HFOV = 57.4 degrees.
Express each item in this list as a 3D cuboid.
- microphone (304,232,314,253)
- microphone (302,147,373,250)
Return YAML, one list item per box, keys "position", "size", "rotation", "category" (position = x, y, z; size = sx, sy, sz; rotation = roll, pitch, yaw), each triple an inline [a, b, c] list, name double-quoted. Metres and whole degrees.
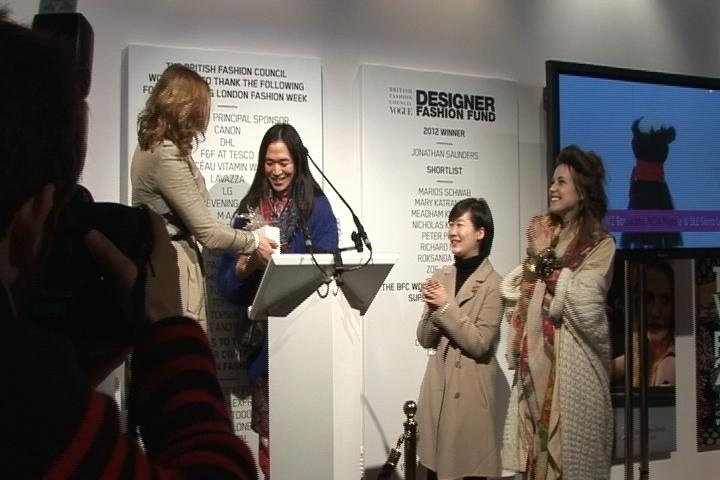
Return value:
- position: [-0.245, 0.011, 3.108]
  size: [0.025, 0.121, 0.043]
  rotation: [-1, -36, -19]
  category: "microphone"
- position: [-0.137, -0.222, 3.683]
  size: [0.058, 0.611, 0.157]
  rotation: [-23, -15, -32]
  category: "microphone"
